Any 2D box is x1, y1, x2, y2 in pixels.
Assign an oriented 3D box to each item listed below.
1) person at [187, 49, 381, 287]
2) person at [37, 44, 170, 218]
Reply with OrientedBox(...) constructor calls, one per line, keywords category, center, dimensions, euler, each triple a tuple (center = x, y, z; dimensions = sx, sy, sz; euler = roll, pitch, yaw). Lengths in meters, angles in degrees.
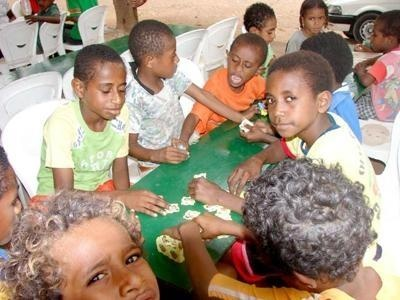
OrientedBox(category="person", center=(0.620, 0.260, 2.438), dimensions=(1.261, 1.741, 0.721), euler=(-7, 16, -9))
OrientedBox(category="person", center=(-0.609, -0.109, 2.398), dimensions=(0.756, 1.007, 0.646), euler=(36, 41, 15))
